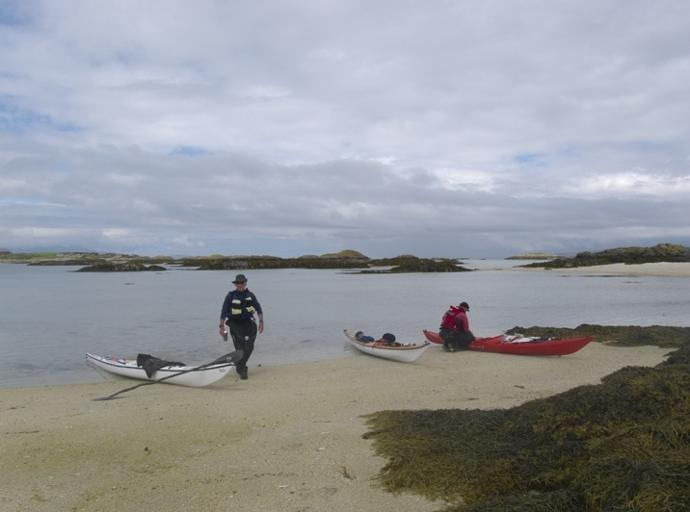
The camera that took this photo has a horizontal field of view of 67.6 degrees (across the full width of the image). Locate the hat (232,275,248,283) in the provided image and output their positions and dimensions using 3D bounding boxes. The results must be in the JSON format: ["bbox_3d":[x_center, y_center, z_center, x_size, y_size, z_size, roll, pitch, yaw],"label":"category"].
[{"bbox_3d":[-3.981,0.811,19.433,0.563,0.232,0.624,-1,-9,1],"label":"hat"}]

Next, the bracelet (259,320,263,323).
[{"bbox_3d":[-3.303,2.542,20.110,0.171,0.148,0.149,1,4,1],"label":"bracelet"}]

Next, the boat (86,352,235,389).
[{"bbox_3d":[-7.646,4.476,20.530,7.356,1.081,1.839,0,-3,23],"label":"boat"}]
